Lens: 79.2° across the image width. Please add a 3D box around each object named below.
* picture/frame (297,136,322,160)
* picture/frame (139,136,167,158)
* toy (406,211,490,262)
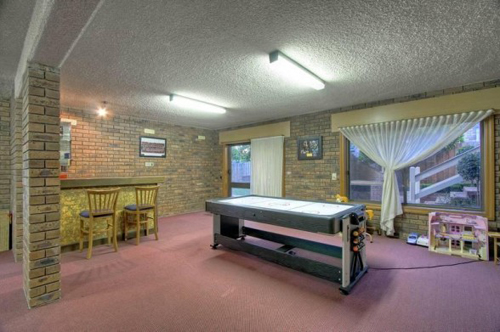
[{"bbox_3d":[1.409,-0.400,7.092,0.074,0.533,0.678,2,-2,-41],"label":"picture/frame"},{"bbox_3d":[-2.521,-0.477,7.849,0.798,0.523,0.032,6,8,15],"label":"picture/frame"},{"bbox_3d":[3.630,1.090,5.590,1.271,1.064,0.721,-6,-13,39],"label":"toy"}]
